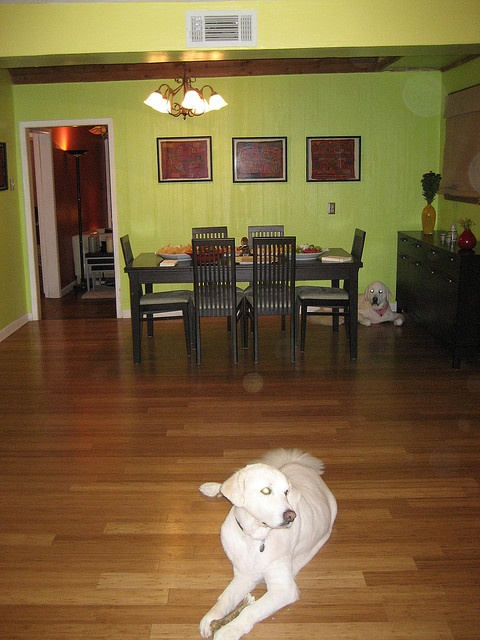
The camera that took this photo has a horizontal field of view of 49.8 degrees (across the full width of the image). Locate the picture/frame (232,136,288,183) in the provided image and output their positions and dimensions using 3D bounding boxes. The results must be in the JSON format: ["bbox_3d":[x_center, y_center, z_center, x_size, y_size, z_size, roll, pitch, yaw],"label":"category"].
[{"bbox_3d":[0.216,-1.808,5.740,0.484,0.394,0.048,0,10,-2],"label":"picture/frame"}]

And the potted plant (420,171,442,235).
[{"bbox_3d":[2.005,-1.247,5.489,0.182,0.653,0.519,4,13,20],"label":"potted plant"}]

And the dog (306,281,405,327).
[{"bbox_3d":[1.382,-0.134,5.562,0.590,0.337,0.768,-1,5,-16],"label":"dog"}]

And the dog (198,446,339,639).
[{"bbox_3d":[0.080,0.594,1.540,0.354,0.251,0.538,17,48,27],"label":"dog"}]

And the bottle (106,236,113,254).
[{"bbox_3d":[-1.967,-1.138,7.772,0.099,0.260,0.492,-4,12,-14],"label":"bottle"}]

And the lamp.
[{"bbox_3d":[-0.500,-2.049,4.693,0.711,0.430,0.654,2,0,-23],"label":"lamp"}]

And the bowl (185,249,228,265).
[{"bbox_3d":[-0.225,-0.516,4.111,0.235,0.144,0.108,-1,12,1],"label":"bowl"}]

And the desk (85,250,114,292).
[{"bbox_3d":[-2.182,-0.780,8.033,0.558,0.714,0.742,-2,14,-8],"label":"desk"}]

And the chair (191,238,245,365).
[{"bbox_3d":[-0.186,-0.152,4.288,0.401,1.043,0.657,-1,12,0],"label":"chair"}]

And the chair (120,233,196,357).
[{"bbox_3d":[-0.728,-0.253,4.709,0.631,1.016,0.583,-2,14,1],"label":"chair"}]

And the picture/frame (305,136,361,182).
[{"bbox_3d":[1.028,-1.812,5.733,0.503,0.407,0.025,-1,21,0],"label":"picture/frame"}]

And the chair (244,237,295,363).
[{"bbox_3d":[0.299,-0.159,4.325,0.433,0.966,0.477,2,-9,-6],"label":"chair"}]

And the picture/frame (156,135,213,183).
[{"bbox_3d":[-0.616,-1.824,5.764,0.499,0.396,0.021,0,13,1],"label":"picture/frame"}]

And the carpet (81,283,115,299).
[{"bbox_3d":[-2.049,-0.385,7.513,0.449,0.068,0.803,-4,12,-13],"label":"carpet"}]
